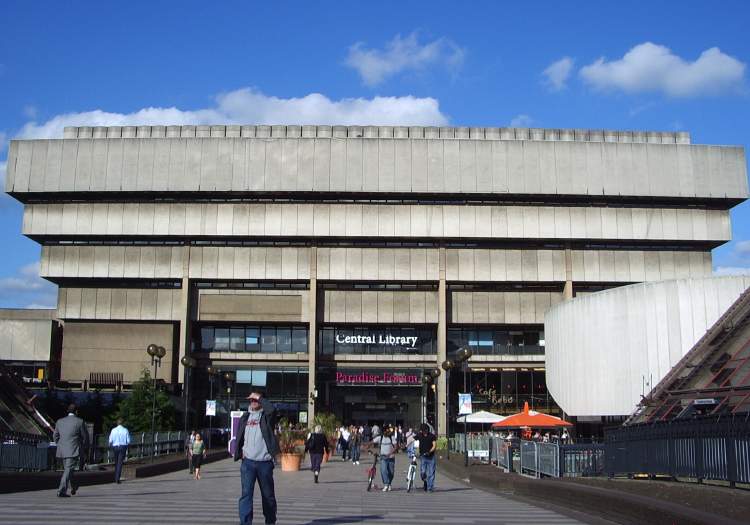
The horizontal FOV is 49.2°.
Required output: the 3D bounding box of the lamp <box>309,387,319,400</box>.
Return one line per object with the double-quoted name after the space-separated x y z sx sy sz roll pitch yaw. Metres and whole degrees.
-5.688 11.836 73.429 0.743 1.328 0.875 2 -7 -1 "lamp"
